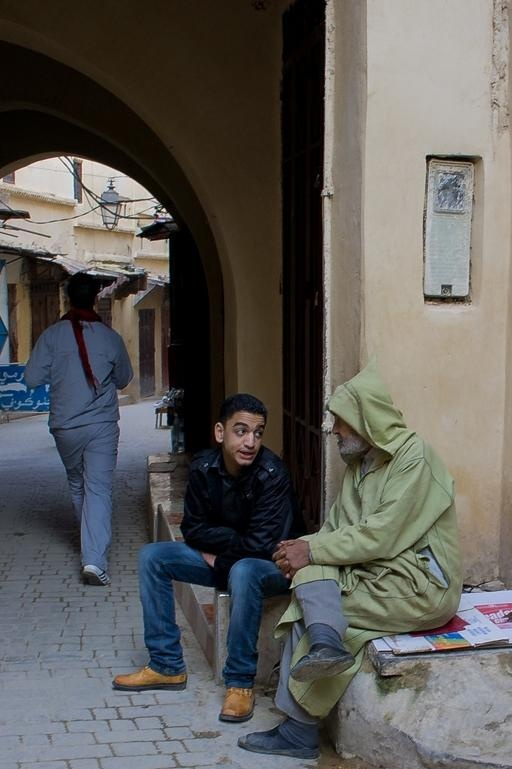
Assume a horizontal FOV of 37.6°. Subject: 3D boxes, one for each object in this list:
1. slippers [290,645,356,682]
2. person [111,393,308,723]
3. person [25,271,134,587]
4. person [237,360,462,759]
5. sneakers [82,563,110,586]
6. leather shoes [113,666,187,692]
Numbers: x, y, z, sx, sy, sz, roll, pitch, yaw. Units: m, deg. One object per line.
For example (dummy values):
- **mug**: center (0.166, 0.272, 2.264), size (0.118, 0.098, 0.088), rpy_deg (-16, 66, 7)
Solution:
- **slippers**: center (0.171, 0.756, 2.025), size (0.164, 0.080, 0.091), rpy_deg (-12, -29, -14)
- **person**: center (-0.164, 0.600, 2.842), size (0.687, 1.101, 0.755), rpy_deg (4, -1, -9)
- **person**: center (-1.167, 0.356, 4.913), size (0.647, 1.676, 0.866), rpy_deg (-2, 8, -4)
- **person**: center (0.245, 0.584, 2.373), size (0.725, 1.236, 0.557), rpy_deg (-9, 10, -41)
- **sneakers**: center (-0.990, 1.162, 4.608), size (0.096, 0.097, 0.212), rpy_deg (-1, -25, 12)
- **leather shoes**: center (-0.412, 1.134, 2.929), size (0.268, 0.116, 0.106), rpy_deg (3, -8, -5)
